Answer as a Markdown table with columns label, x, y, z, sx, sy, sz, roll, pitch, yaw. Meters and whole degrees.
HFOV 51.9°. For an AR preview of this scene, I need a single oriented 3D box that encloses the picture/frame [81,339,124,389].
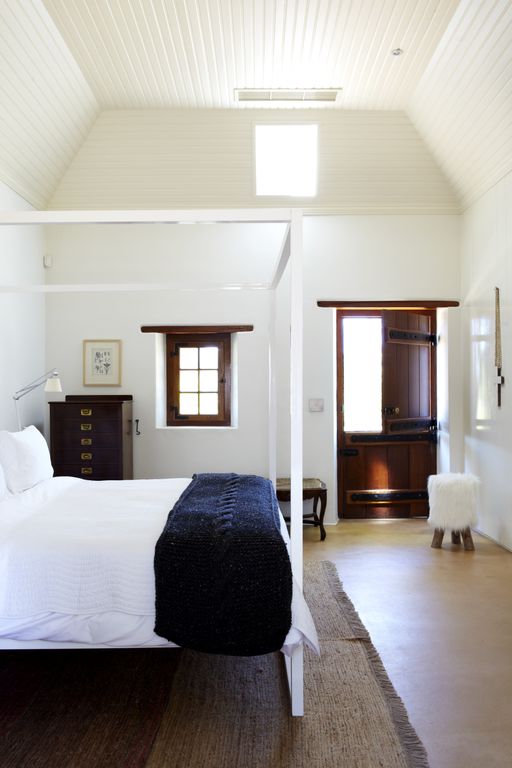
| label | x | y | z | sx | sy | sz | roll | pitch | yaw |
| --- | --- | --- | --- | --- | --- | --- | --- | --- | --- |
| picture/frame | -1.564 | -0.214 | 5.238 | 0.336 | 0.595 | 0.039 | 0 | -1 | -7 |

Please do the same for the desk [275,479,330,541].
| label | x | y | z | sx | sy | sz | roll | pitch | yaw |
| --- | --- | --- | --- | --- | --- | --- | --- | --- | --- |
| desk | 0.406 | 1.182 | 4.988 | 0.506 | 0.566 | 0.412 | -3 | 7 | -1 |

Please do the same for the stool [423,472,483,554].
| label | x | y | z | sx | sy | sz | roll | pitch | yaw |
| --- | --- | --- | --- | --- | --- | --- | --- | --- | --- |
| stool | 1.614 | 1.047 | 4.287 | 0.370 | 0.628 | 0.340 | -1 | -3 | 15 |
